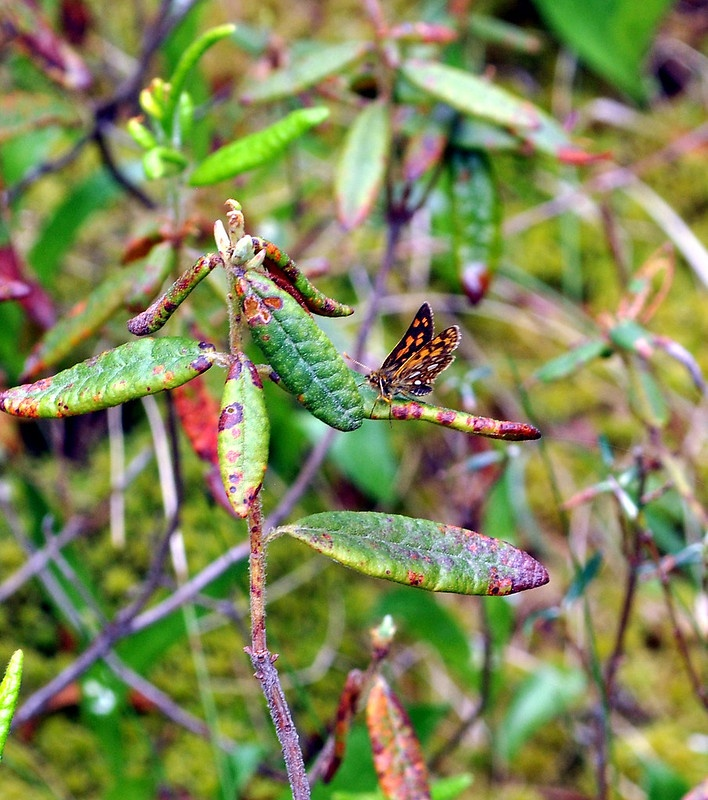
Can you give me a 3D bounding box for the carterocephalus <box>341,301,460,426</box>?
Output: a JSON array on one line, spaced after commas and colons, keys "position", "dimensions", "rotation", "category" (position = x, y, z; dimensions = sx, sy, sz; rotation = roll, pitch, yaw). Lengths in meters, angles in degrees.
[{"position": [0.050, -0.023, 1.134], "dimensions": [0.124, 0.126, 0.158], "rotation": [14, 84, -7], "category": "carterocephalus"}]
